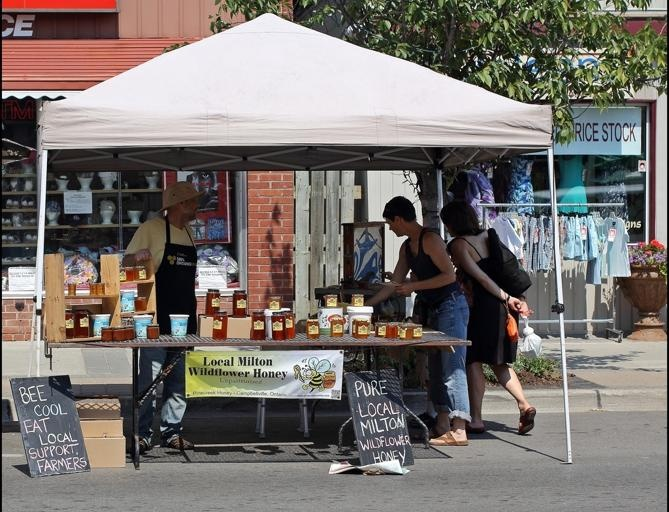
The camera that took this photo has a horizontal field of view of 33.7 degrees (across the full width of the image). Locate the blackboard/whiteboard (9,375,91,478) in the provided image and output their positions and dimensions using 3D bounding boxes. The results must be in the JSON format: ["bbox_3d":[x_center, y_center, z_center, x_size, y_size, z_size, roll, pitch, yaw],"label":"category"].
[{"bbox_3d":[-2.730,1.635,10.661,0.670,0.894,0.301,-1,7,-19],"label":"blackboard/whiteboard"}]

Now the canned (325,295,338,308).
[{"bbox_3d":[-0.017,0.453,11.160,0.115,0.116,0.114,1,-3,-8],"label":"canned"}]

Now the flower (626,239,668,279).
[{"bbox_3d":[5.042,0.046,17.789,0.591,0.548,0.631,3,7,14],"label":"flower"}]

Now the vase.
[{"bbox_3d":[5.135,0.782,18.164,1.151,1.190,1.082,0,-6,-2],"label":"vase"}]

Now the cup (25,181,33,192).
[{"bbox_3d":[-4.881,-1.124,17.743,0.124,0.167,0.164,-1,-7,-6],"label":"cup"}]

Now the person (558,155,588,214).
[{"bbox_3d":[4.016,-1.210,18.529,0.454,1.297,0.386,2,9,7],"label":"person"}]

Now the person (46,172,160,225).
[{"bbox_3d":[-3.648,-0.903,17.641,1.502,0.948,0.849,-1,5,-18],"label":"person"}]

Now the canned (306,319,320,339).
[{"bbox_3d":[-0.204,0.724,10.997,0.173,0.246,0.105,1,-4,-10],"label":"canned"}]

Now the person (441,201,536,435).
[{"bbox_3d":[1.614,0.657,11.967,1.225,2.507,0.883,1,2,33],"label":"person"}]

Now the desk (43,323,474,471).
[{"bbox_3d":[-0.661,1.455,12.257,3.220,1.528,2.007,3,1,-6],"label":"desk"}]

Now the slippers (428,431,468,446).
[{"bbox_3d":[1.224,1.938,11.730,0.372,0.151,0.162,2,-3,-2],"label":"slippers"}]

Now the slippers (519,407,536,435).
[{"bbox_3d":[2.081,1.778,11.955,0.136,0.377,0.152,-9,47,-18],"label":"slippers"}]

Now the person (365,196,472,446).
[{"bbox_3d":[0.933,0.704,11.619,1.096,2.640,0.843,0,0,-20],"label":"person"}]

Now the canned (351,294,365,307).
[{"bbox_3d":[0.240,0.452,11.280,0.108,0.109,0.109,-2,-2,45],"label":"canned"}]

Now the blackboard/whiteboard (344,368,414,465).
[{"bbox_3d":[0.411,1.593,11.164,0.751,0.877,0.747,0,9,-4],"label":"blackboard/whiteboard"}]

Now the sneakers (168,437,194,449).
[{"bbox_3d":[-1.588,1.930,11.441,0.228,0.099,0.128,2,2,8],"label":"sneakers"}]

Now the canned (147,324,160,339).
[{"bbox_3d":[-1.775,0.734,10.855,0.110,0.123,0.153,0,7,-12],"label":"canned"}]

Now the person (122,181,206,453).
[{"bbox_3d":[-1.722,0.631,11.604,0.691,2.901,1.346,4,5,27],"label":"person"}]

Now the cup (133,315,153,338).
[{"bbox_3d":[-1.874,0.698,10.829,0.196,0.214,0.199,1,-2,0],"label":"cup"}]

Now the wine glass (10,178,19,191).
[{"bbox_3d":[-5.094,-1.140,17.611,0.110,0.196,0.042,0,6,-13],"label":"wine glass"}]

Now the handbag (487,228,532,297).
[{"bbox_3d":[1.870,0.053,11.819,0.383,0.711,0.415,-2,8,-13],"label":"handbag"}]

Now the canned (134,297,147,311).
[{"bbox_3d":[-1.930,0.487,11.122,0.063,0.139,0.156,7,9,43],"label":"canned"}]

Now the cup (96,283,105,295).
[{"bbox_3d":[-2.267,0.322,10.750,0.083,0.115,0.063,-3,7,-28],"label":"cup"}]

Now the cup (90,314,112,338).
[{"bbox_3d":[-2.267,0.667,10.749,0.198,0.204,0.200,1,-4,0],"label":"cup"}]

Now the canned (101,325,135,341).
[{"bbox_3d":[-2.078,0.746,10.655,0.200,0.079,0.158,1,-2,-34],"label":"canned"}]

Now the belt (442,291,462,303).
[{"bbox_3d":[1.236,0.421,11.569,0.139,0.110,0.113,-11,-3,-9],"label":"belt"}]

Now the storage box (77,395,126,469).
[{"bbox_3d":[-2.265,1.745,10.956,0.518,0.602,0.547,0,-1,-12],"label":"storage box"}]
